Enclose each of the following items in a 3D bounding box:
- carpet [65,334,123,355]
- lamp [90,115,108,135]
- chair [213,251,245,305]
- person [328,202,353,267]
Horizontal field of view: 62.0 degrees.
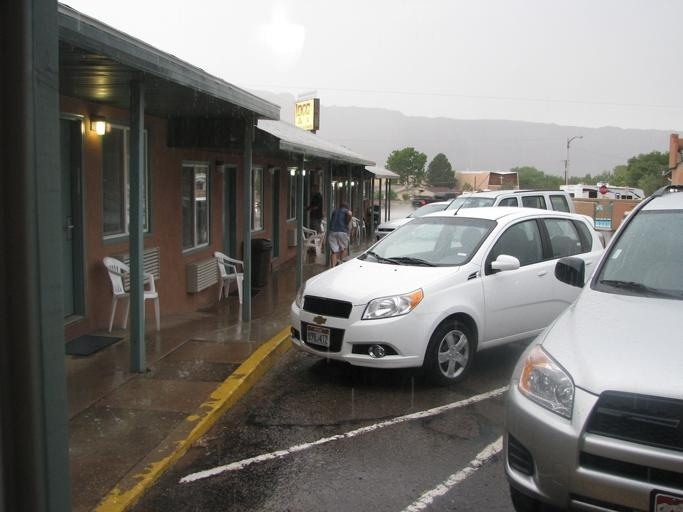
[{"bbox_3d":[-3.308,1.161,7.458,0.589,0.052,0.855,2,10,4],"label":"carpet"},{"bbox_3d":[-3.388,-1.834,7.964,0.155,0.273,0.285,0,9,-1],"label":"lamp"},{"bbox_3d":[-2.419,0.407,12.195,0.585,1.008,2.147,-1,10,-11],"label":"chair"},{"bbox_3d":[-0.014,-0.469,14.076,0.505,1.768,0.473,6,-5,-34],"label":"person"}]
